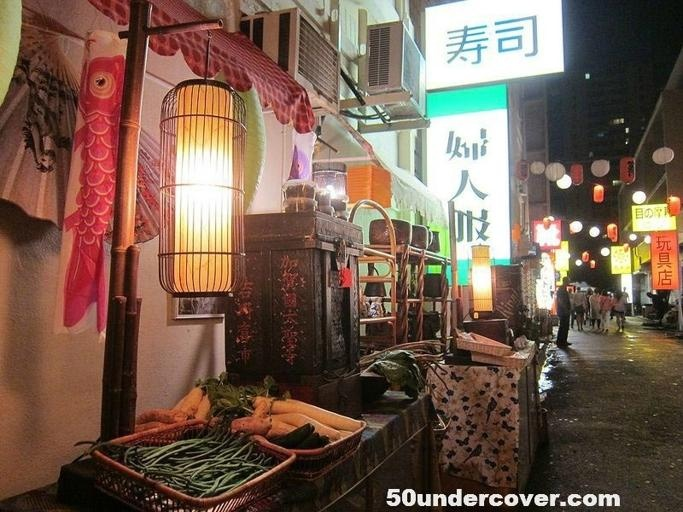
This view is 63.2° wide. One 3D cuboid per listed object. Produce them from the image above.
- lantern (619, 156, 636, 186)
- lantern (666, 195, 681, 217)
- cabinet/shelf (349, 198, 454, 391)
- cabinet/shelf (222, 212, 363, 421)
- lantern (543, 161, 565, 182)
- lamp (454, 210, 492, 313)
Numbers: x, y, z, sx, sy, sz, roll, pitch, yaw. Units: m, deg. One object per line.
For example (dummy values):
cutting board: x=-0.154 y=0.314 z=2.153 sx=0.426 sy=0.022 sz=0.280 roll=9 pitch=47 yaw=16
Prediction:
lantern: x=8.376 y=-2.544 z=16.263 sx=0.340 sy=0.816 sz=0.736 roll=0 pitch=-4 yaw=22
lantern: x=12.028 y=-1.822 z=20.046 sx=0.371 sy=0.628 sz=0.332 roll=1 pitch=-4 yaw=10
cabinet/shelf: x=0.625 y=0.381 z=5.813 sx=0.627 sy=1.645 sz=2.207 roll=-1 pitch=-5 yaw=20
cabinet/shelf: x=-0.251 y=0.296 z=3.497 sx=0.794 sy=1.211 sz=1.043 roll=-1 pitch=-3 yaw=20
lantern: x=6.172 y=-2.493 z=16.306 sx=0.561 sy=0.674 sz=0.576 roll=5 pitch=7 yaw=37
lamp: x=1.537 y=0.262 z=6.150 sx=0.269 sy=0.883 sz=0.289 roll=-1 pitch=4 yaw=11
